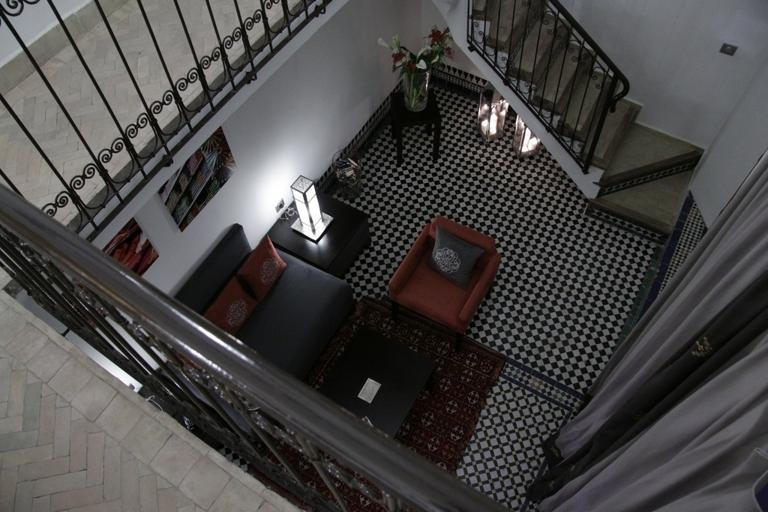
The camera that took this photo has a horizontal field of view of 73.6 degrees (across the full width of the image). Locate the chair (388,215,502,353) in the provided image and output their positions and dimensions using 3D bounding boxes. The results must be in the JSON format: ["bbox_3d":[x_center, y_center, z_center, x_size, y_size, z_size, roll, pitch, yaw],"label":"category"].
[{"bbox_3d":[0.787,0.346,6.811,1.251,1.276,1.192,36,-28,24],"label":"chair"}]

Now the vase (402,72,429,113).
[{"bbox_3d":[0.473,-2.448,7.654,0.493,0.302,0.313,78,-9,-64],"label":"vase"}]

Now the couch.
[{"bbox_3d":[-1.544,0.741,7.355,1.909,2.089,1.254,31,-17,7],"label":"couch"}]

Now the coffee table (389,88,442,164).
[{"bbox_3d":[0.391,-1.950,8.149,0.701,0.939,0.798,5,10,20],"label":"coffee table"}]

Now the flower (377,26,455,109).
[{"bbox_3d":[0.456,-2.711,7.616,0.843,0.852,1.102,-7,-49,0],"label":"flower"}]

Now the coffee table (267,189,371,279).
[{"bbox_3d":[-0.751,-0.247,7.484,1.109,1.170,0.709,29,-21,11],"label":"coffee table"}]

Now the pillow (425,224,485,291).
[{"bbox_3d":[0.904,0.045,6.567,0.614,0.322,0.508,34,-29,22],"label":"pillow"}]
